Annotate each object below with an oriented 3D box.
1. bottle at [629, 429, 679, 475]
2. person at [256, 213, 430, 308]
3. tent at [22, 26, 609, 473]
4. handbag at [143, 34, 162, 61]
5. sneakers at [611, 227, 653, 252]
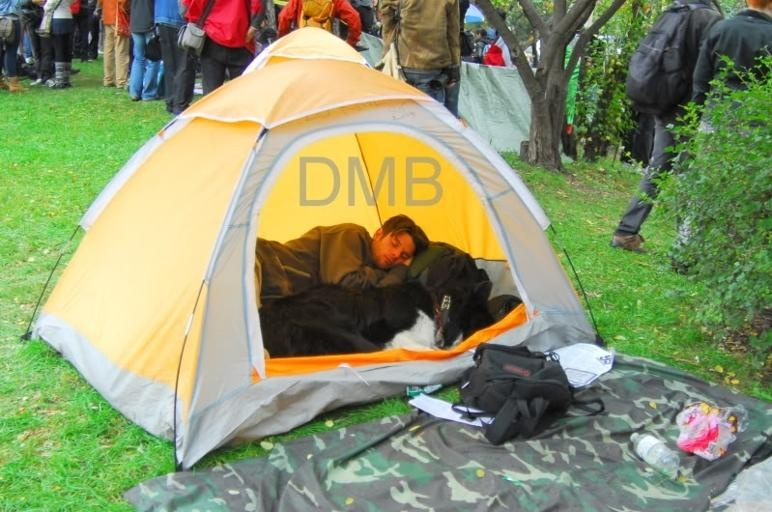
[{"bbox_3d":[1.741,1.276,4.291,0.340,0.126,0.197,16,20,33],"label":"bottle"},{"bbox_3d":[-0.364,0.014,5.577,0.991,0.371,0.731,-3,23,-18],"label":"person"},{"bbox_3d":[-0.650,-0.256,4.888,3.522,2.652,1.868,-5,20,-29],"label":"tent"},{"bbox_3d":[-3.506,-3.148,9.986,0.329,0.346,0.472,-1,-19,-17],"label":"handbag"},{"bbox_3d":[2.529,-0.172,6.928,0.441,0.185,0.150,9,15,-2],"label":"sneakers"}]
